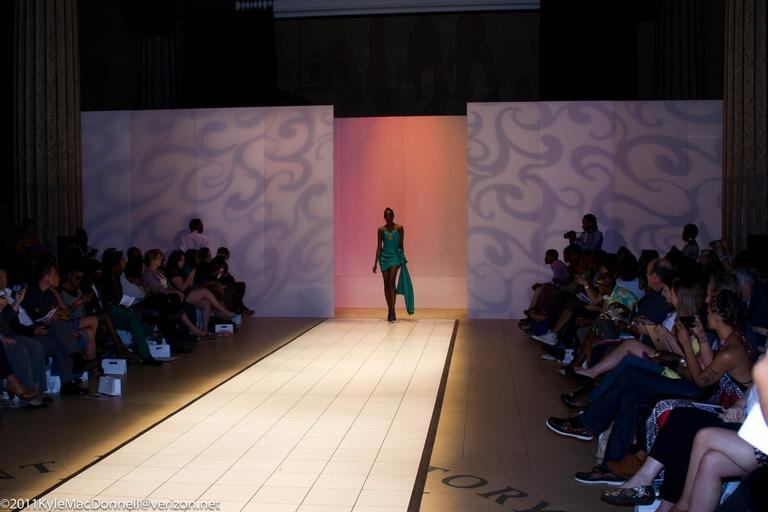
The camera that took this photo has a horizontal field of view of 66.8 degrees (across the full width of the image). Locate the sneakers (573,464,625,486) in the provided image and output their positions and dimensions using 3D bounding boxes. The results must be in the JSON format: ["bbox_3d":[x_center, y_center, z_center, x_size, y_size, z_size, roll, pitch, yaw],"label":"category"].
[{"bbox_3d":[1.508,1.538,4.164,0.319,0.178,0.130,3,-8,9],"label":"sneakers"}]

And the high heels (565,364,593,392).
[{"bbox_3d":[1.819,1.142,5.481,0.173,0.179,0.472,-21,-3,-1],"label":"high heels"}]

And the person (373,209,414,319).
[{"bbox_3d":[0.140,0.138,10.149,0.646,2.006,1.331,-3,10,-1],"label":"person"}]

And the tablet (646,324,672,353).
[{"bbox_3d":[2.128,0.638,4.587,0.142,0.154,0.204,-8,-6,-18],"label":"tablet"}]

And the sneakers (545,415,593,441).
[{"bbox_3d":[1.516,1.399,4.822,0.382,0.186,0.151,7,3,23],"label":"sneakers"}]

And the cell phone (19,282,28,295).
[{"bbox_3d":[-3.405,0.311,5.548,0.081,0.094,0.089,24,-12,-37],"label":"cell phone"}]

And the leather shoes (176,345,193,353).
[{"bbox_3d":[-2.572,1.201,7.534,0.209,0.097,0.070,0,6,-5],"label":"leather shoes"}]

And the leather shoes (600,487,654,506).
[{"bbox_3d":[1.580,1.551,3.836,0.327,0.148,0.130,2,-6,6],"label":"leather shoes"}]

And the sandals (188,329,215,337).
[{"bbox_3d":[-2.517,1.078,8.146,0.219,0.075,0.080,6,-2,-23],"label":"sandals"}]

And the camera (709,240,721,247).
[{"bbox_3d":[4.026,-0.154,7.169,0.128,0.058,0.133,-6,9,44],"label":"camera"}]

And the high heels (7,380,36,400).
[{"bbox_3d":[-3.326,1.189,5.370,0.343,0.172,0.120,6,18,31],"label":"high heels"}]

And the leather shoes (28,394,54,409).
[{"bbox_3d":[-3.177,1.349,5.413,0.161,0.068,0.097,3,5,3],"label":"leather shoes"}]

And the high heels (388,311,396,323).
[{"bbox_3d":[0.129,1.015,9.780,0.142,0.232,0.150,-2,4,-18],"label":"high heels"}]

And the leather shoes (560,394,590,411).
[{"bbox_3d":[1.648,1.295,5.132,0.198,0.086,0.115,5,28,27],"label":"leather shoes"}]
